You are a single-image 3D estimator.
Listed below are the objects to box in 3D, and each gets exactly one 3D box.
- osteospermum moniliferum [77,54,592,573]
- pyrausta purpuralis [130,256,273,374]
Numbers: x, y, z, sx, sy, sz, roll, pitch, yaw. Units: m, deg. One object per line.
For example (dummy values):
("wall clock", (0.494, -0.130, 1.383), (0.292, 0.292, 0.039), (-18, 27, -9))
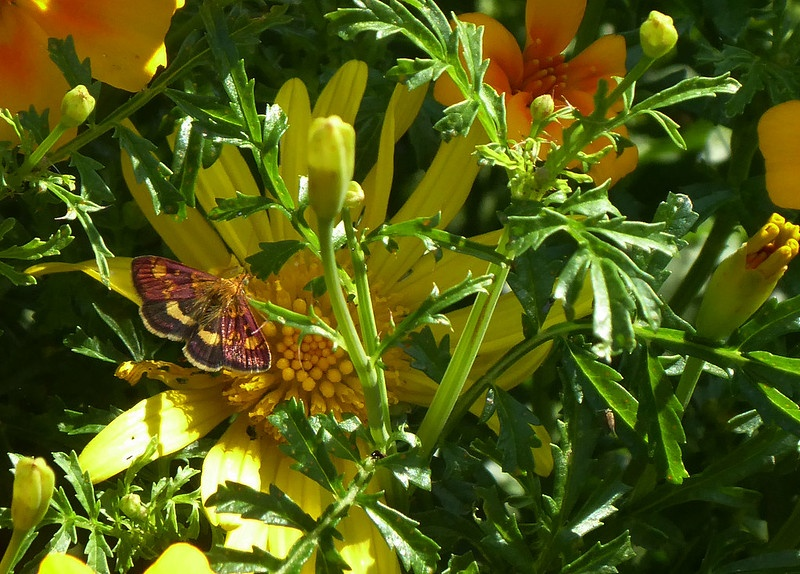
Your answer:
("osteospermum moniliferum", (-0.058, 0.016, 0.841), (0.511, 0.513, 0.392), (0, -47, 17))
("pyrausta purpuralis", (-0.208, 0.028, 0.824), (0.171, 0.094, 0.066), (22, -45, -4))
